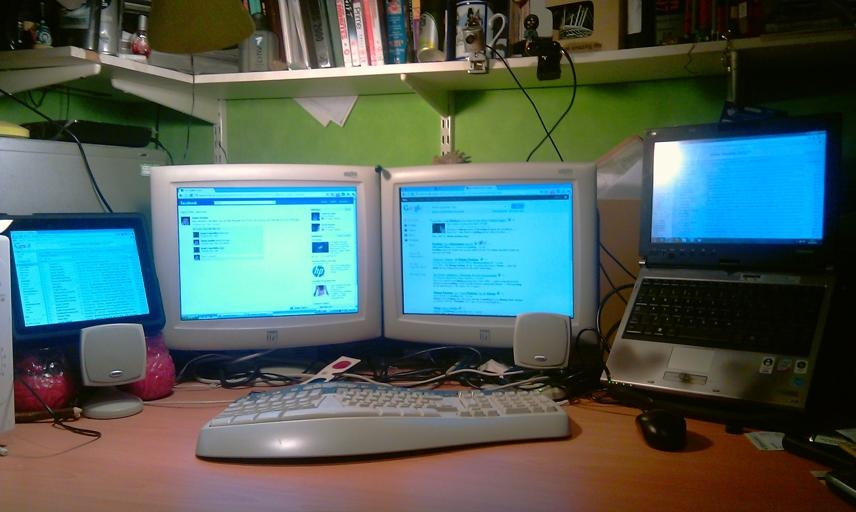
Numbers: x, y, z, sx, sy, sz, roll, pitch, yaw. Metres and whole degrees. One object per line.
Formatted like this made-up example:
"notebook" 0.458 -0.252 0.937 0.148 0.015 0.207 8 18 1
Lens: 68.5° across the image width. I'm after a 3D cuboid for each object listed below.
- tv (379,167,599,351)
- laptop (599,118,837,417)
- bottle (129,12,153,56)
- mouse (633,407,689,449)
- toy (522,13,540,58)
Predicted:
"tv" 0.160 -0.005 1.725 0.578 0.483 0.140 -1 13 7
"laptop" 0.796 0.026 1.707 0.594 0.539 0.761 11 54 29
"bottle" -0.899 -0.687 1.952 0.061 0.139 0.122 -8 13 -21
"mouse" 0.538 0.388 1.440 0.121 0.045 0.149 0 15 13
"toy" 0.300 -0.643 1.835 0.041 0.115 0.077 -1 13 8
